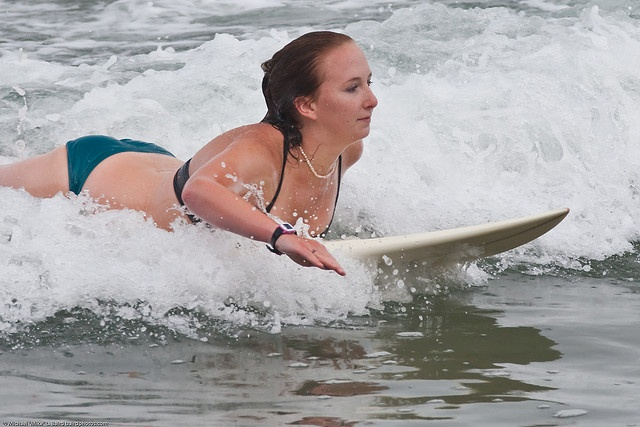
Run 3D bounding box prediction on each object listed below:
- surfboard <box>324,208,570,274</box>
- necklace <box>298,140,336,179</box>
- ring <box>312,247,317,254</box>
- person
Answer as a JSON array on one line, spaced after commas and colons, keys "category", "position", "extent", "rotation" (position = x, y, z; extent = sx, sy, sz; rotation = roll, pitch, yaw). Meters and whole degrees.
[{"category": "surfboard", "position": [0.845, 0.198, 6.065], "extent": [2.921, 0.276, 0.229], "rotation": [-4, 30, -24]}, {"category": "necklace", "position": [-0.015, -0.294, 5.421], "extent": [0.200, 0.203, 0.039], "rotation": [-29, 32, -7]}, {"category": "ring", "position": [-0.029, 0.203, 4.969], "extent": [0.045, 0.010, 0.028], "rotation": [3, 76, -9]}, {"category": "person", "position": [-0.452, -0.436, 5.411], "extent": [2.586, 0.733, 1.524], "rotation": [8, 14, 22]}]
